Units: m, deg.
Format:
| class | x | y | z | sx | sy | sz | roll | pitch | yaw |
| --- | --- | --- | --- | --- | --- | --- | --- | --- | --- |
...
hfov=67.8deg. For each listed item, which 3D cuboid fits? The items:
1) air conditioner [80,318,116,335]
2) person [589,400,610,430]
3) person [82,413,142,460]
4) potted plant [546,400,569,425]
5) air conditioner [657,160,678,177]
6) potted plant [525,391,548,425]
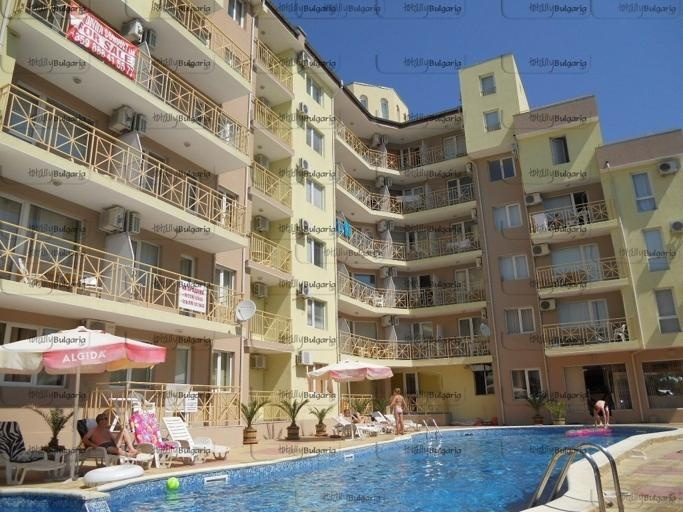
| class | x | y | z | sx | sy | sz | roll | pitch | yaw |
| --- | --- | --- | --- | --- | --- | --- | --- | --- | --- |
| air conditioner | -7.019 | 2.000 | 14.582 | 0.223 | 0.565 | 0.687 | -22 | -27 | 39 |
| person | 11.917 | 7.206 | 23.357 | 0.667 | 1.125 | 3.539 | -12 | -18 | 24 |
| person | -5.541 | 4.441 | 12.559 | 1.463 | 0.863 | 0.699 | 2 | -13 | 17 |
| potted plant | 10.760 | 7.760 | 25.510 | 1.263 | 1.218 | 1.155 | 10 | -13 | -42 |
| air conditioner | 16.513 | -4.477 | 25.724 | 0.836 | 0.635 | 0.428 | -9 | -26 | 28 |
| potted plant | 10.071 | 7.792 | 26.070 | 0.943 | 1.531 | 0.945 | -9 | -18 | 16 |
